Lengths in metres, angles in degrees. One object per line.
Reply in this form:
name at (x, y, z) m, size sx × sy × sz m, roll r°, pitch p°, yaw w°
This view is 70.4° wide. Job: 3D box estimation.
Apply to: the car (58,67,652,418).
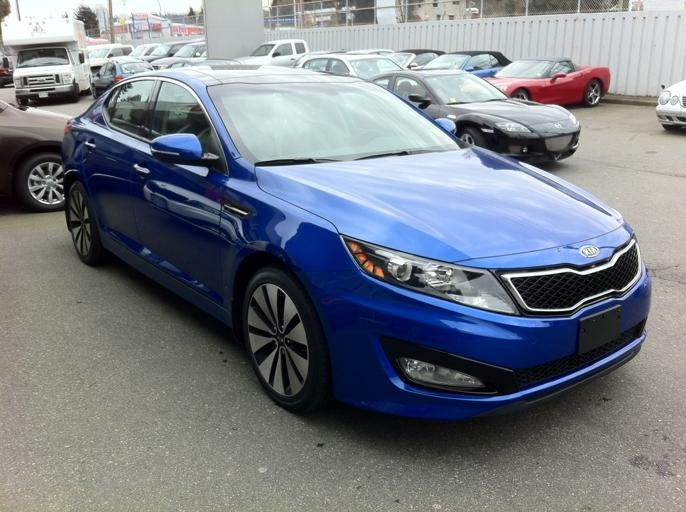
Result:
car at (-0.404, -0.349, 3.746) m, size 2.135 × 1.359 × 4.484 m, roll -15°, pitch 24°, yaw -39°
